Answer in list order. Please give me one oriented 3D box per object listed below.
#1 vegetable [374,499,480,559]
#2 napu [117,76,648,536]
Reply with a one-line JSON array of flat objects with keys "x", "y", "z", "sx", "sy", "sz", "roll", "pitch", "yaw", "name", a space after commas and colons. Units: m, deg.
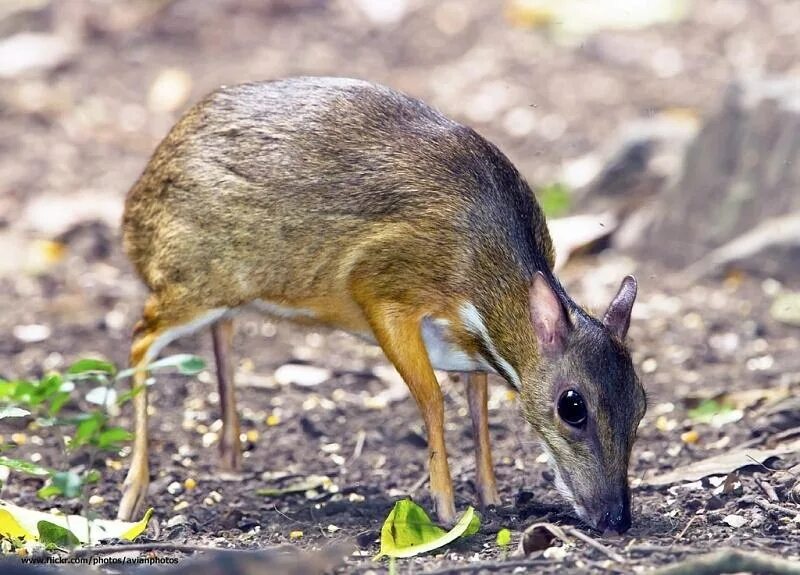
[{"x": 0.152, "y": 1.355, "z": 5.112, "sx": 0.628, "sy": 0.334, "sz": 0.279, "roll": -7, "pitch": -27, "yaw": -2, "name": "vegetable"}, {"x": -0.092, "y": 0.063, "z": 5.479, "sx": 2.847, "sy": 3.022, "sz": 0.920, "roll": -6, "pitch": -30, "yaw": -6, "name": "napu"}]
